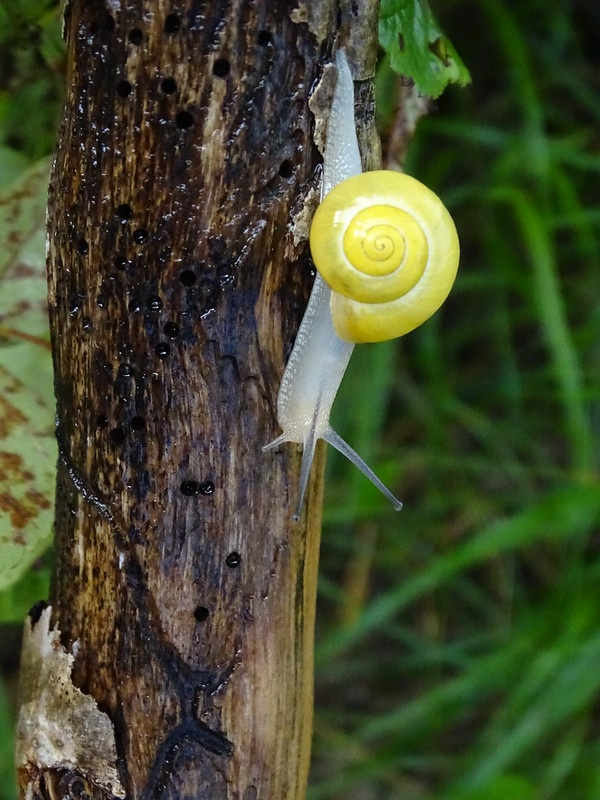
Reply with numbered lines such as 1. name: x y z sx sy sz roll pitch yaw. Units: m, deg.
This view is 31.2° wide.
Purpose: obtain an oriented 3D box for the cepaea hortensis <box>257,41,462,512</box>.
1. cepaea hortensis: 0.042 -0.077 0.742 0.144 0.273 0.136 0 13 -36
